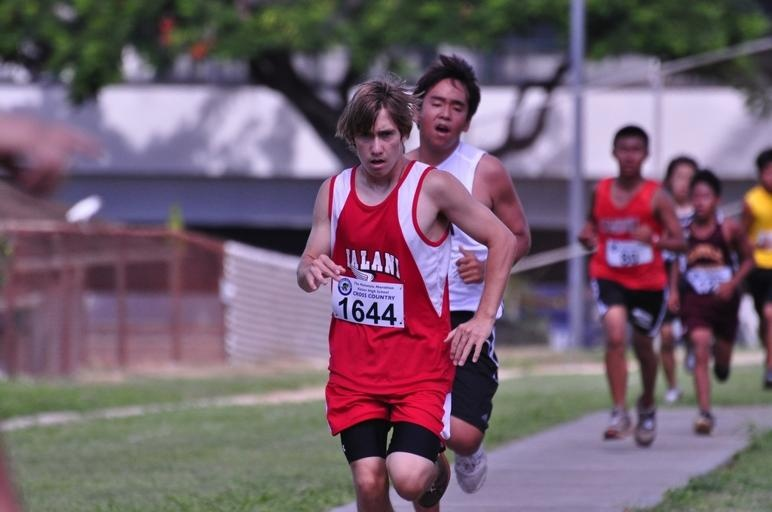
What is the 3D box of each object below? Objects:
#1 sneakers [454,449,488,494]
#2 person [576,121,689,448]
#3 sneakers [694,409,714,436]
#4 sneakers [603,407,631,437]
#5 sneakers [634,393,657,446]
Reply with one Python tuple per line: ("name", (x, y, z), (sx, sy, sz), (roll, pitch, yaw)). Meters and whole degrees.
("sneakers", (0.612, 1.555, 9.650), (0.144, 0.179, 0.417), (-22, 26, 24))
("person", (1.878, 0.218, 10.034), (0.669, 2.359, 0.300), (-2, -3, 7))
("sneakers", (2.346, 1.222, 9.856), (0.109, 0.178, 0.076), (2, -44, 7))
("sneakers", (1.715, 1.241, 9.936), (0.214, 0.215, 0.078), (-3, -3, 9))
("sneakers", (1.908, 1.198, 9.866), (0.114, 0.350, 0.147), (2, -11, 12))
